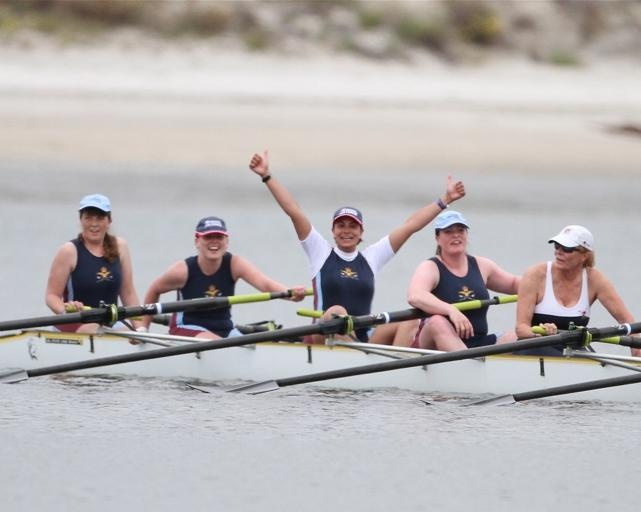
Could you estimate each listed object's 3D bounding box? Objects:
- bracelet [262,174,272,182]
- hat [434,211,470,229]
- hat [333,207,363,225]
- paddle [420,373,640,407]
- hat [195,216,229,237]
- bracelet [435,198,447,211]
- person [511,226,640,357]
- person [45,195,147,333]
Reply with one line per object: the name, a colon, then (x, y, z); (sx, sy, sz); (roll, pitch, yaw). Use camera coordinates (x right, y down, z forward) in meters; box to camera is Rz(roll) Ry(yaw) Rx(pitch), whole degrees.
bracelet: (-0.487, -0.689, 11.946); (0.065, 0.067, 0.065); (-32, -36, -8)
hat: (1.134, -0.297, 11.496); (0.273, 0.172, 0.390); (1, 2, 4)
hat: (0.257, -0.363, 11.810); (0.248, 0.155, 0.374); (2, -8, -3)
paddle: (1.802, 1.120, 10.906); (1.342, 0.117, 0.105); (-7, -31, 14)
hat: (-0.961, -0.252, 11.827); (0.285, 0.170, 0.351); (1, 2, -5)
bracelet: (1.113, -0.461, 12.117); (0.087, 0.111, 0.055); (-16, -32, -50)
person: (2.068, 0.233, 10.873); (0.888, 0.924, 0.408); (2, 3, 10)
person: (-2.030, 0.167, 12.086); (0.935, 1.323, 0.927); (-1, 8, -30)
